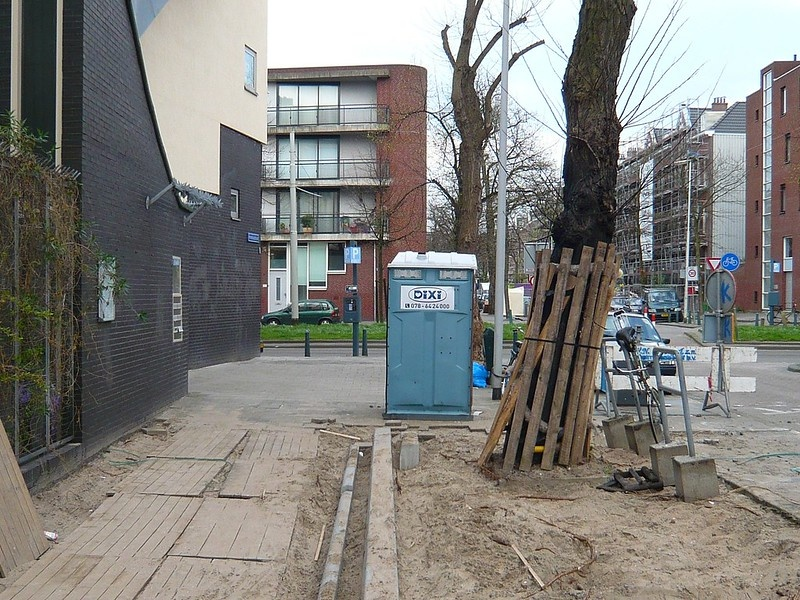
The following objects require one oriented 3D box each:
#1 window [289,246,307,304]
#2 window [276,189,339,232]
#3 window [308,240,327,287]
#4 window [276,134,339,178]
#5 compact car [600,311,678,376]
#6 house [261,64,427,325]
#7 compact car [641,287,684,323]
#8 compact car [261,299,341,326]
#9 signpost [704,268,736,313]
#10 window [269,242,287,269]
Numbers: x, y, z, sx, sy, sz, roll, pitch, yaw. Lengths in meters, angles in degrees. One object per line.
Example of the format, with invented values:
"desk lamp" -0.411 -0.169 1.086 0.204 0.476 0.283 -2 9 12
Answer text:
"window" -5.798 -1.346 37.159 1.141 4.785 0.206 1 36 -5
"window" -5.369 -5.246 37.356 3.411 2.834 0.179 0 -3 6
"window" -4.902 -1.887 38.118 1.144 3.057 0.251 0 -9 -5
"window" -5.383 -8.466 37.603 4.167 3.496 0.357 1 -2 0
"compact car" 4.901 0.830 13.250 0.901 0.911 1.592 -7 17 -16
"house" -2.784 -6.353 40.977 12.043 20.088 12.817 0 -2 5
"compact car" 16.162 0.315 39.523 1.984 2.190 3.555 -1 -6 3
"compact car" -4.914 0.699 32.214 3.218 1.292 1.552 2 1 -6
"signpost" 5.838 -0.164 11.676 0.345 0.858 0.629 -1 -1 -37
"window" -7.358 -2.742 38.402 1.365 2.169 0.211 0 0 -5
